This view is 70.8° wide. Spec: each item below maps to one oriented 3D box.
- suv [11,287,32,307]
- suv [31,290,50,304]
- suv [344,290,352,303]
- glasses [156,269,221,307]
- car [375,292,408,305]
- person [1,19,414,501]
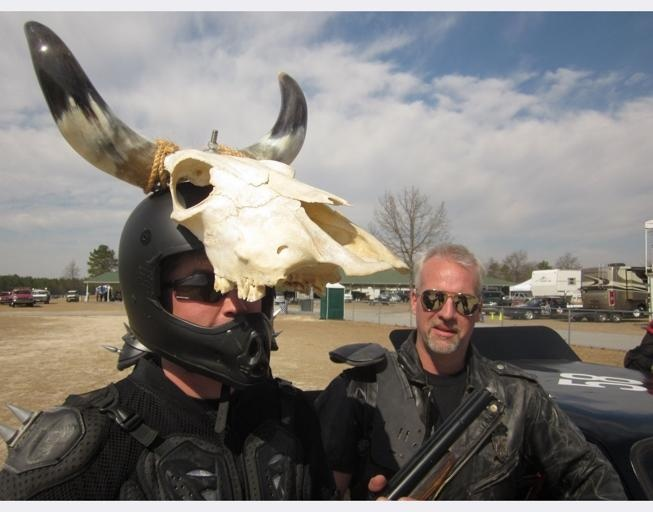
[{"bbox_3d":[-28.651,3.958,43.474,1.397,1.369,2.453,3,-12,-30],"label":"suv"},{"bbox_3d":[-31.465,4.512,50.873,1.435,1.206,2.472,2,-6,-28],"label":"suv"},{"bbox_3d":[2.848,5.451,61.237,1.090,1.093,2.087,0,-5,0],"label":"suv"},{"bbox_3d":[-0.556,0.160,1.907,0.198,0.093,0.154,-15,-16,37],"label":"glasses"},{"bbox_3d":[7.466,5.050,51.208,2.505,0.858,1.617,-5,-1,-2],"label":"car"},{"bbox_3d":[-0.482,0.072,1.877,1.327,1.967,0.807,0,-2,5],"label":"person"}]
